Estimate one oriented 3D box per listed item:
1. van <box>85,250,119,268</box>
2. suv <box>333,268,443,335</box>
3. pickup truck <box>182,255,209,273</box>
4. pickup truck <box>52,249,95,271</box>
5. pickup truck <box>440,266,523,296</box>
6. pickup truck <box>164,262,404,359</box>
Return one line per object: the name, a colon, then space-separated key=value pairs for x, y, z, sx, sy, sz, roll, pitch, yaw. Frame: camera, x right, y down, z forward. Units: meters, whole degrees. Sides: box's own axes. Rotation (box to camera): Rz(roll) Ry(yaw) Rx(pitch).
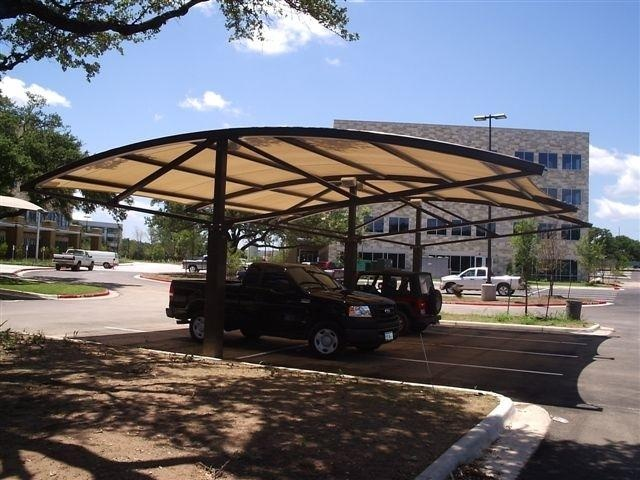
van: x=-25.455 y=2.247 z=61.222 sx=3.465 sy=1.384 sz=1.895 roll=5 pitch=-4 yaw=-18
suv: x=2.125 y=1.964 z=16.998 sx=3.740 sy=1.618 sz=1.934 roll=0 pitch=-1 yaw=35
pickup truck: x=-12.888 y=2.497 z=53.804 sx=4.009 sy=1.385 sz=2.107 roll=-2 pitch=2 yaw=10
pickup truck: x=-24.541 y=2.039 z=52.516 sx=2.464 sy=2.205 sz=3.363 roll=1 pitch=-4 yaw=1
pickup truck: x=11.635 y=3.071 z=38.713 sx=6.047 sy=1.768 sz=2.455 roll=1 pitch=-3 yaw=30
pickup truck: x=-0.983 y=1.799 z=13.753 sx=5.654 sy=1.661 sz=2.468 roll=-4 pitch=-6 yaw=28
